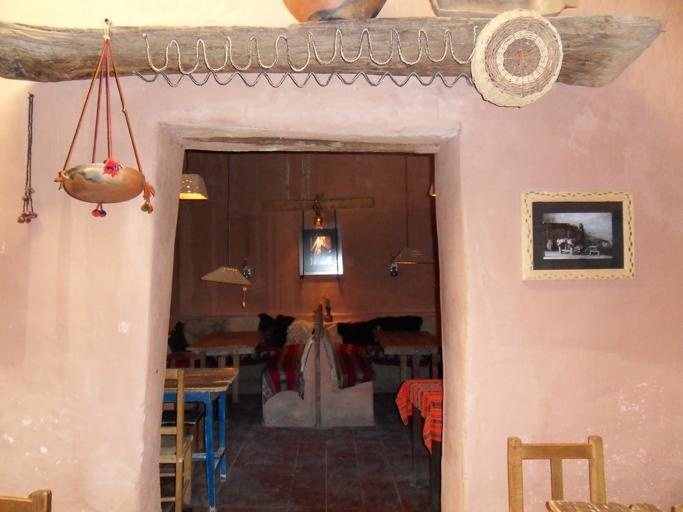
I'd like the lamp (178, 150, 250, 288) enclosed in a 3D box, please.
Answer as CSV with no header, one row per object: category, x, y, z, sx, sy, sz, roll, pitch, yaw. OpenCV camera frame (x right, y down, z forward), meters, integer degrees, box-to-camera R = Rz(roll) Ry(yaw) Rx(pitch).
lamp,-1.305,-0.309,7.738,0.766,1.639,3.255,-2,6,-12

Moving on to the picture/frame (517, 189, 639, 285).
picture/frame,1.274,-0.107,4.005,0.520,0.436,0.044,-1,1,-1

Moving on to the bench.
bench,-0.219,0.948,6.947,1.003,0.868,1.376,-1,-3,-3

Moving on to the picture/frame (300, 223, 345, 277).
picture/frame,-0.258,-0.055,8.992,0.664,0.769,0.066,0,0,1
